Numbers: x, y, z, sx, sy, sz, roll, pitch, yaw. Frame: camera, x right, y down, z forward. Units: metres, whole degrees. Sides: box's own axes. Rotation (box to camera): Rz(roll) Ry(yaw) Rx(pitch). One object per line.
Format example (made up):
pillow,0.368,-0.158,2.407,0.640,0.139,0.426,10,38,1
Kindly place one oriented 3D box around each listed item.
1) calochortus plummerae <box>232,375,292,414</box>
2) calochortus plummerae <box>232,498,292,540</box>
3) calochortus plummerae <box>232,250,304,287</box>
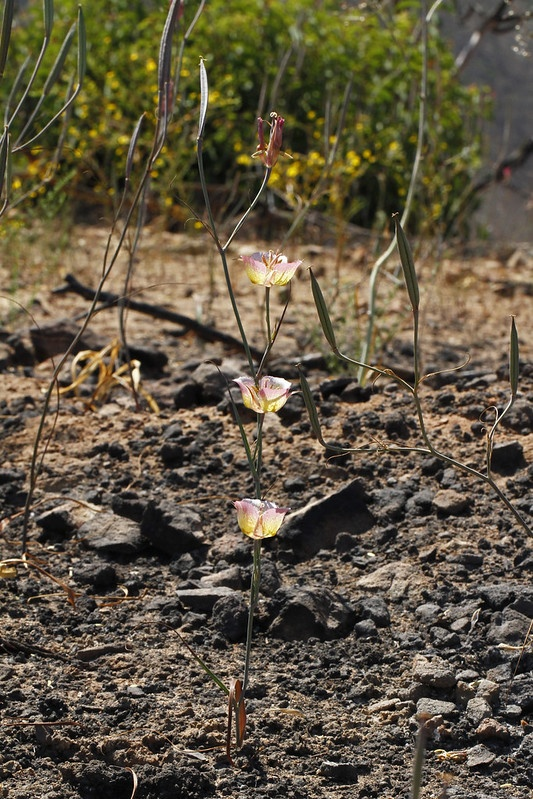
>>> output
calochortus plummerae,-0.005,-0.015,2.249,0.096,0.043,0.089,1,10,-27
calochortus plummerae,-0.018,0.249,2.238,0.099,0.062,0.098,16,12,20
calochortus plummerae,-0.005,-0.306,2.345,0.132,0.048,0.129,4,9,-12
